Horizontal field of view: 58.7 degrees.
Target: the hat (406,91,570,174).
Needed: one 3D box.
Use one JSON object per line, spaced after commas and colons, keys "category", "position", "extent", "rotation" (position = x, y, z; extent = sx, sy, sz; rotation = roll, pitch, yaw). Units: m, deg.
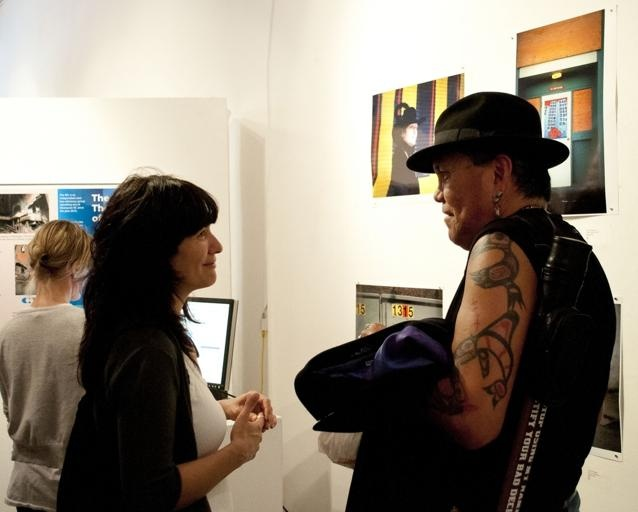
{"category": "hat", "position": [0.471, -0.354, 1.644], "extent": [0.468, 0.182, 0.438], "rotation": [1, -2, 12]}
